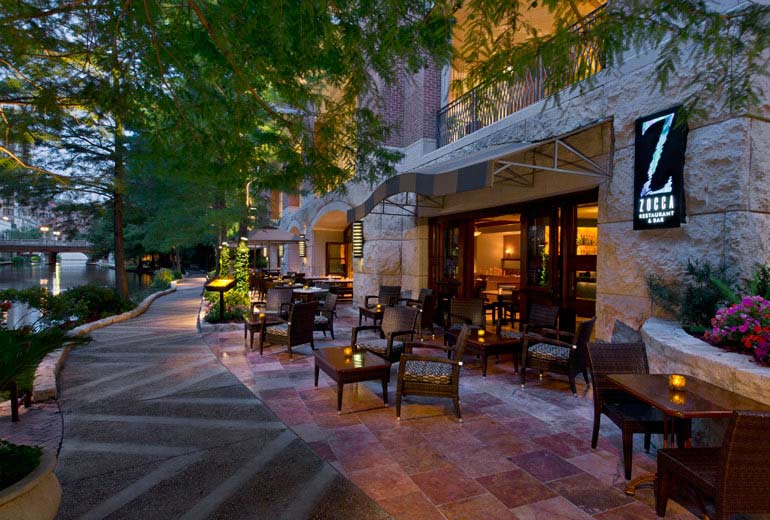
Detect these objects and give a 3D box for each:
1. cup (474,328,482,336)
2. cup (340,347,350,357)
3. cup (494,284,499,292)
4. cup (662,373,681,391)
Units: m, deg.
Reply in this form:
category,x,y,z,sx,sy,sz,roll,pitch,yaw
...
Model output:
category,x,y,z,sx,sy,sz,roll,pitch,yaw
cup,1.719,1.358,9.540,0.106,0.196,0.106,3,-4,0
cup,-0.648,1.468,8.193,0.120,0.112,0.121,2,-2,0
cup,3.555,0.913,16.457,0.202,0.250,0.205,2,0,0
cup,3.266,1.393,5.858,0.160,0.140,0.162,0,-2,0
